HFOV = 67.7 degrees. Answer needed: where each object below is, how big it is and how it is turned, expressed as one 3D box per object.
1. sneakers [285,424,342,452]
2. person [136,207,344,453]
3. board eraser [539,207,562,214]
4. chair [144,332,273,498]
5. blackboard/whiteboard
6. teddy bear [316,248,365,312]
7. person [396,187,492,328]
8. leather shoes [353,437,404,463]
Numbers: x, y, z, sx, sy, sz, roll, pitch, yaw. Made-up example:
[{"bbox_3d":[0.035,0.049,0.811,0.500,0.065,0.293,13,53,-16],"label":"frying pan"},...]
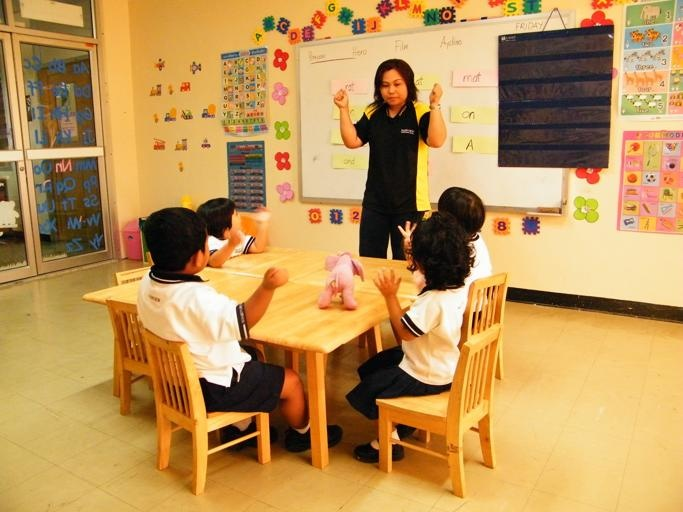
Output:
[{"bbox_3d":[-0.122,0.831,2.319,0.232,0.167,0.113,2,5,4],"label":"sneakers"},{"bbox_3d":[-0.481,0.359,2.112,0.642,1.150,0.519,-2,11,3],"label":"person"},{"bbox_3d":[1.605,-0.346,3.903,0.150,0.042,0.021,1,12,17],"label":"board eraser"},{"bbox_3d":[-0.556,0.619,2.184,0.444,0.615,0.413,-4,6,-33],"label":"chair"},{"bbox_3d":[0.796,-1.142,3.881,1.976,1.272,0.091,2,4,25],"label":"blackboard/whiteboard"},{"bbox_3d":[0.003,0.121,2.377,0.144,0.179,0.303,3,18,8],"label":"teddy bear"},{"bbox_3d":[0.443,0.013,2.247,0.305,0.877,0.366,16,33,28],"label":"person"},{"bbox_3d":[0.159,0.840,2.253,0.186,0.076,0.101,2,6,14],"label":"leather shoes"}]
